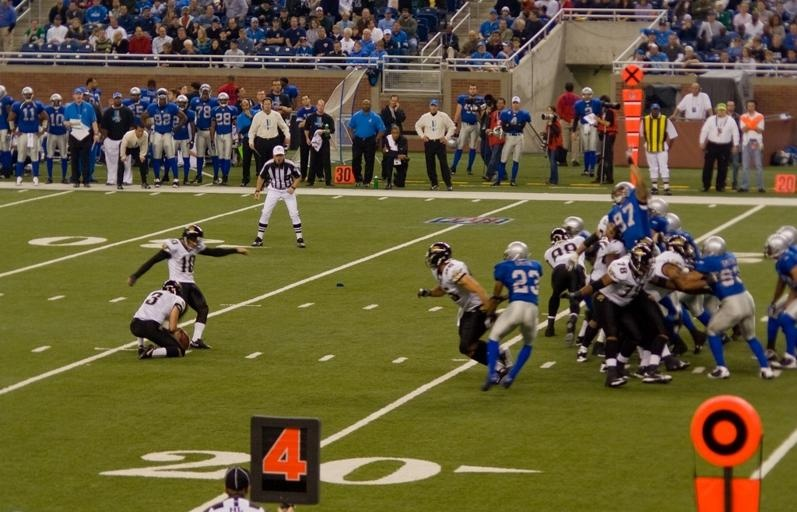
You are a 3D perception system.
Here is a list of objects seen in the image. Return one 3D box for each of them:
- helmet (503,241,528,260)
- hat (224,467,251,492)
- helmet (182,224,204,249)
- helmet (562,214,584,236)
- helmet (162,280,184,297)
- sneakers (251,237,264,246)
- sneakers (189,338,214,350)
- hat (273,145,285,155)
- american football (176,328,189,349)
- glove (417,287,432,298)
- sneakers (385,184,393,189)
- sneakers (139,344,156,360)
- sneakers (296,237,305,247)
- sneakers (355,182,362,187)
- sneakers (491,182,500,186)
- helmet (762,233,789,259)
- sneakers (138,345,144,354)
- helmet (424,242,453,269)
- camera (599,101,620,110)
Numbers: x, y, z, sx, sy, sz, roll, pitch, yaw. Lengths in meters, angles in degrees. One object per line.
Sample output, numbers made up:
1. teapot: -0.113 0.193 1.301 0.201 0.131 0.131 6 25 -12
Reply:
1. helmet: 1.619 -0.064 15.866 0.301 0.231 0.244 16 20 36
2. hat: -1.485 2.045 10.597 0.179 0.131 0.261 -2 34 -8
3. helmet: -3.152 -0.319 17.641 0.405 0.370 0.316 1 31 -10
4. helmet: 2.764 -0.478 18.066 0.280 0.269 0.431 -1 2 6
5. helmet: -3.413 0.486 17.311 0.220 0.253 0.265 2 8 12
6. sneakers: -2.903 -0.293 23.749 0.116 0.135 0.323 1 1 12
7. sneakers: -3.010 1.322 17.500 0.372 0.157 0.125 3 45 -6
8. hat: -2.444 -2.194 23.555 0.209 0.152 0.307 1 0 -9
9. american football: -3.259 1.257 17.312 0.152 0.325 0.331 -1 2 9
10. glove: 0.365 0.505 15.848 0.125 0.100 0.295 -30 1 -2
11. sneakers: -0.232 -1.859 30.244 0.169 0.076 0.216 -2 5 -9
12. sneakers: -3.750 1.397 17.175 0.122 0.131 0.320 2 21 11
13. sneakers: -2.019 -0.304 23.668 0.224 0.231 0.577 -1 0 -12
14. sneakers: -1.059 -1.970 31.018 0.213 0.112 0.239 -2 2 -13
15. sneakers: 2.609 -1.975 30.826 0.173 0.107 0.313 -3 2 -40
16. helmet: 5.457 -0.149 16.577 0.293 0.354 0.352 1 -26 12
17. sneakers: -3.824 1.382 17.093 0.096 0.134 0.179 -2 2 -9
18. helmet: 0.596 -0.024 15.808 0.391 0.347 0.291 -1 10 10
19. camera: 5.784 -4.078 31.014 0.268 0.216 0.636 -38 32 -31
